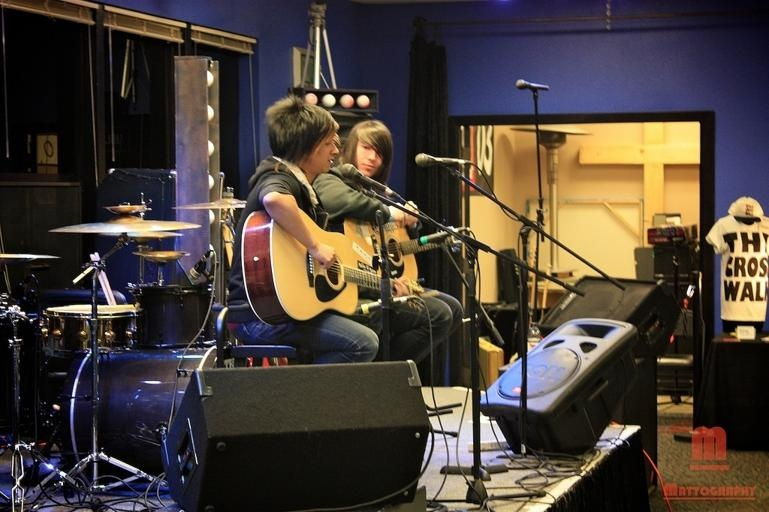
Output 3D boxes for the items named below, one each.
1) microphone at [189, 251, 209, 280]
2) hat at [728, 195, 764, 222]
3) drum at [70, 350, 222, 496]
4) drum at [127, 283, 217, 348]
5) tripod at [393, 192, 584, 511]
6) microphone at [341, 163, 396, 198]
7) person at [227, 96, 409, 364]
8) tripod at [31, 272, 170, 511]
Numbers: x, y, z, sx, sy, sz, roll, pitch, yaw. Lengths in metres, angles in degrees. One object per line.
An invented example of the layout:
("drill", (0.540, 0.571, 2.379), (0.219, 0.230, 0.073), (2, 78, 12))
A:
("microphone", (-1.219, 0.066, 5.511), (0.102, 0.076, 0.180), (2, -41, -35))
("hat", (3.134, -0.409, 7.265), (0.260, 0.187, 0.193), (-4, 7, -5))
("drum", (-1.539, 0.919, 5.252), (0.850, 0.756, 0.724), (4, 20, 20))
("drum", (-1.299, 0.373, 5.292), (0.370, 0.309, 0.394), (2, 1, 0))
("tripod", (1.010, 0.687, 5.320), (1.438, 2.169, 0.866), (-3, -2, 16))
("microphone", (-0.090, -0.417, 4.666), (0.275, 0.177, 0.271), (1, 4, 1))
("person", (-0.447, -0.165, 4.998), (0.835, 1.573, 0.855), (4, -8, 2))
("tripod", (-1.662, 0.759, 4.893), (0.794, 1.388, 0.436), (2, 5, 26))
